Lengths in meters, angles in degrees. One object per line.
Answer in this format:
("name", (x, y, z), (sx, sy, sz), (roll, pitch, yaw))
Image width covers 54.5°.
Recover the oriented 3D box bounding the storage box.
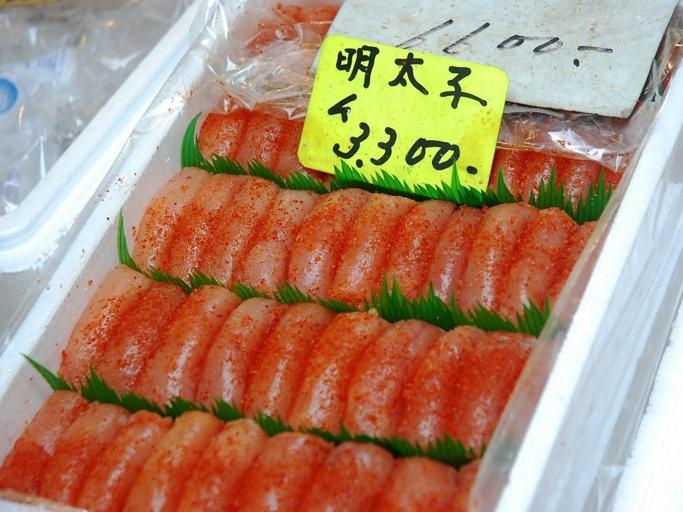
("storage box", (-0.208, 0.202, 2.191), (2.061, 0.750, 1.386), (10, 61, 12))
